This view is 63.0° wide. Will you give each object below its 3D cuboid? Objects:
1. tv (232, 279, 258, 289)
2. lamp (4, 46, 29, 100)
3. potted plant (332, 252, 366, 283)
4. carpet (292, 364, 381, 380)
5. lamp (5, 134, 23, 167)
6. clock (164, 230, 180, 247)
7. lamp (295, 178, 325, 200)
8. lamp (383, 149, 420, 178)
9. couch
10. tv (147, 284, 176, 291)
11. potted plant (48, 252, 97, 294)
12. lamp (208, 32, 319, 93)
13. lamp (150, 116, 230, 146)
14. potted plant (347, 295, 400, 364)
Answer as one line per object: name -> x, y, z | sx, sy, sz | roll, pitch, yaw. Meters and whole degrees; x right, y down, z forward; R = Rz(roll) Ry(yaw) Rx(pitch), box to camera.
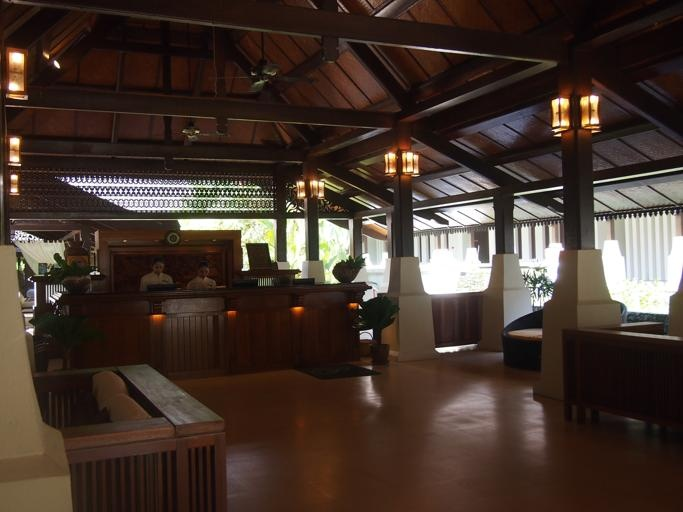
tv -> -1.436, 0.417, 8.331 | 0.373, 0.104, 0.252 | -1, 1, -6
lamp -> -3.758, -2.150, 6.464 | 0.200, 0.437, 0.294 | -1, 1, -28
potted plant -> 0.136, 0.210, 9.294 | 0.442, 0.338, 0.471 | -10, -5, -1
carpet -> -0.048, 1.697, 8.190 | 0.996, 0.043, 1.090 | -1, 1, -20
lamp -> -5.209, -1.705, 8.897 | 0.151, 0.352, 0.356 | -1, 1, -34
clock -> -3.241, -0.347, 10.721 | 0.261, 0.269, 0.189 | -1, 1, -18
lamp -> -0.588, -1.458, 12.299 | 0.492, 0.355, 0.500 | -2, -3, 44
lamp -> 0.969, -1.515, 9.355 | 0.459, 0.294, 0.460 | 0, -3, -5
couch -> 3.117, 1.329, 8.239 | 1.349, 0.839, 1.362 | 0, -3, 8
tv -> -2.471, 0.436, 7.698 | 0.362, 0.088, 0.095 | -1, 1, -26
potted plant -> -3.563, 0.255, 7.540 | 0.674, 0.486, 0.678 | -1, -5, 7
lamp -> -1.410, -3.660, 10.411 | 1.809, 0.826, 2.057 | 2, -3, -5
lamp -> -3.264, -2.650, 11.733 | 1.124, 0.536, 1.116 | 2, -7, -39
potted plant -> 0.573, 1.162, 8.889 | 0.739, 1.047, 0.700 | 0, 1, 21
